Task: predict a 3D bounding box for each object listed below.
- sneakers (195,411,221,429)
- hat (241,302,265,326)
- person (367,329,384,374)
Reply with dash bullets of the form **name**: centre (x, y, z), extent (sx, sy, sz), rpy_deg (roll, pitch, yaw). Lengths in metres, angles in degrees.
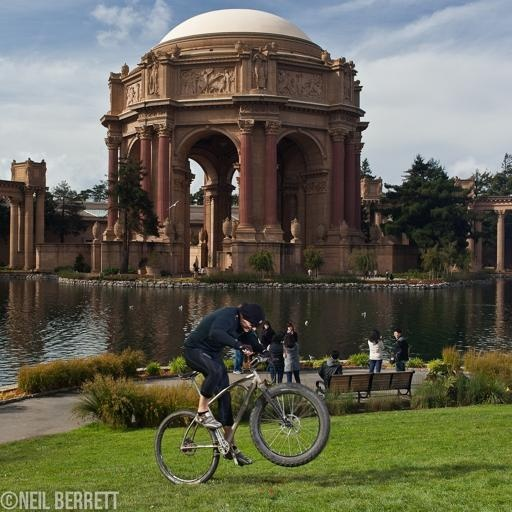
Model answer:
- **sneakers**: centre (-0.684, 2.325, 15.479), extent (0.377, 0.199, 0.164), rpy_deg (3, 2, 33)
- **hat**: centre (-0.099, 0.824, 15.779), extent (0.234, 0.286, 0.342), rpy_deg (19, -5, -44)
- **person**: centre (2.641, 2.106, 24.039), extent (0.291, 0.997, 0.888), rpy_deg (0, 4, 6)
